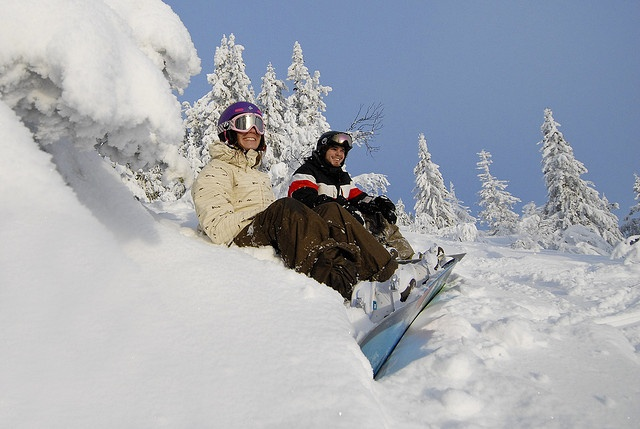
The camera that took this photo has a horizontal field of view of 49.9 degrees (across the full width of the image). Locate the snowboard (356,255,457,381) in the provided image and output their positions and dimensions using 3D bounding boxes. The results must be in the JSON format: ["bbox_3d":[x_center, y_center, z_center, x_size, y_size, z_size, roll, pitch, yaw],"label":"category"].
[{"bbox_3d":[0.837,1.020,6.862,0.663,0.257,1.301,-23,7,37],"label":"snowboard"}]

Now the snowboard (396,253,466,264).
[{"bbox_3d":[1.439,0.593,8.700,1.052,0.169,0.044,0,-6,-36],"label":"snowboard"}]

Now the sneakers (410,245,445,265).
[{"bbox_3d":[1.295,0.484,7.963,0.162,0.202,0.482,-3,18,46],"label":"sneakers"}]

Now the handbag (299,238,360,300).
[{"bbox_3d":[0.179,0.551,7.152,0.634,0.290,0.502,30,2,5],"label":"handbag"}]

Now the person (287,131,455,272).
[{"bbox_3d":[0.339,-0.032,8.978,2.124,1.450,1.192,35,47,22],"label":"person"}]
